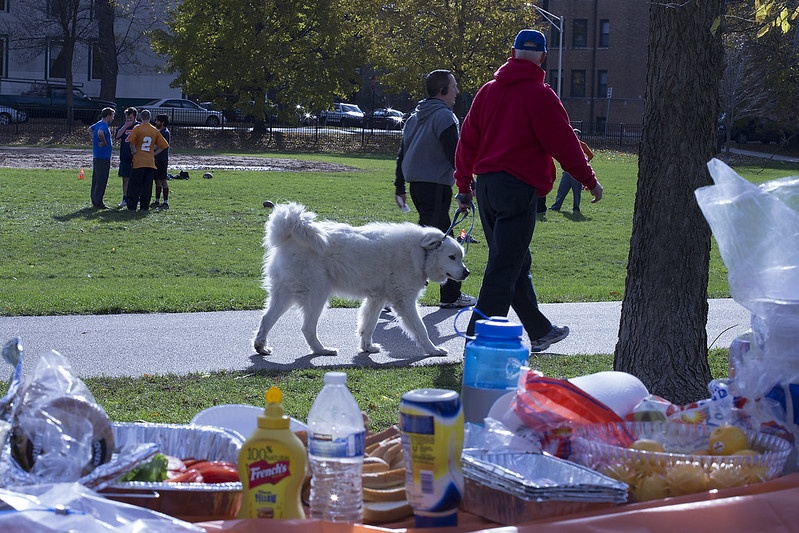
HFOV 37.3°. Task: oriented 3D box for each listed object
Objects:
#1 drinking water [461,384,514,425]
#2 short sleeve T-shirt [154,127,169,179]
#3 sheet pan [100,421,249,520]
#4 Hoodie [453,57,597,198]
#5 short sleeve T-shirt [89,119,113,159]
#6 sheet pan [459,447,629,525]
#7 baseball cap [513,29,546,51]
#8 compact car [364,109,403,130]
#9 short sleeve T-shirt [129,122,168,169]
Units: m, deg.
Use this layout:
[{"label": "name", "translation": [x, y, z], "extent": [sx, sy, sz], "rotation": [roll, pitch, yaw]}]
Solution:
[{"label": "drinking water", "translation": [0.829, 1.325, 11.626], "extent": [0.421, 0.281, 0.412], "rotation": [3, 4, 5]}, {"label": "short sleeve T-shirt", "translation": [-5.239, -2.501, 25.877], "extent": [0.405, 0.930, 0.216], "rotation": [-6, -14, -19]}, {"label": "sheet pan", "translation": [-2.106, 1.923, 11.111], "extent": [1.238, 0.737, 0.870], "rotation": [0, 8, -8]}, {"label": "Hoodie", "translation": [1.403, -1.628, 13.747], "extent": [1.669, 1.614, 0.550], "rotation": [6, 10, 36]}, {"label": "short sleeve T-shirt", "translation": [-6.324, -2.729, 25.060], "extent": [0.347, 0.829, 0.971], "rotation": [-2, 8, -16]}, {"label": "sheet pan", "translation": [1.258, 2.044, 10.886], "extent": [0.796, 0.349, 1.025], "rotation": [-4, 10, -31]}, {"label": "baseball cap", "translation": [1.547, -2.664, 13.853], "extent": [0.365, 0.253, 0.577], "rotation": [8, 11, 12]}, {"label": "compact car", "translation": [-0.660, -8.683, 68.770], "extent": [1.356, 1.164, 2.824], "rotation": [-7, 10, -41]}, {"label": "short sleeve T-shirt", "translation": [-5.350, -2.581, 25.057], "extent": [1.028, 0.912, 0.420], "rotation": [-3, 22, -18]}]
